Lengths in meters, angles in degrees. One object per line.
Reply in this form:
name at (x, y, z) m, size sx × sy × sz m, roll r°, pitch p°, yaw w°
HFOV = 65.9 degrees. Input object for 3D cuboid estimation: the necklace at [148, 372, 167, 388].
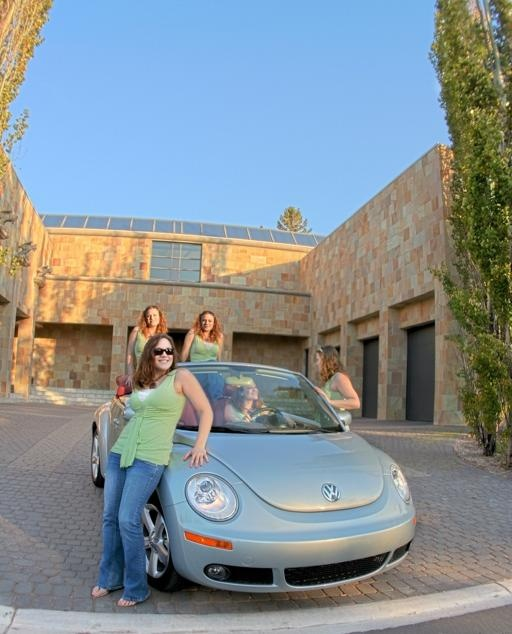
necklace at (-0.566, 0.371, 2.342) m, size 0.102 × 0.080 × 0.038 m, roll -40°, pitch -8°, yaw -18°

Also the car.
car at (-0.233, 0.996, 2.883) m, size 1.209 × 0.922 × 2.341 m, roll 4°, pitch -6°, yaw -23°
